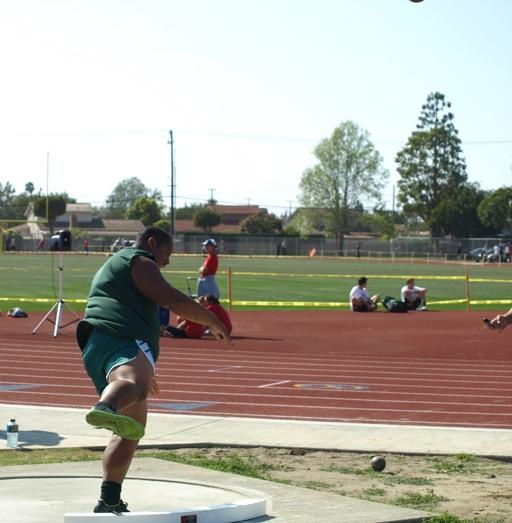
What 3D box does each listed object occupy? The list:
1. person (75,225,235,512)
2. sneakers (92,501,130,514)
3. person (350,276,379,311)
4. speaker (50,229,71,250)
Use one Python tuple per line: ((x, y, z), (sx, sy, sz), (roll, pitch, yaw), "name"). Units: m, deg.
((-0.625, 0.605, 4.937), (0.768, 1.618, 1.171), (2, 0, -11), "person")
((-0.769, 1.312, 4.640), (0.236, 0.073, 0.073), (5, -6, -24), "sneakers")
((2.589, 0.816, 21.412), (0.579, 0.801, 0.752), (2, 0, 24), "person")
((-3.074, -0.328, 13.782), (0.307, 0.326, 0.719), (2, 0, -12), "speaker")
